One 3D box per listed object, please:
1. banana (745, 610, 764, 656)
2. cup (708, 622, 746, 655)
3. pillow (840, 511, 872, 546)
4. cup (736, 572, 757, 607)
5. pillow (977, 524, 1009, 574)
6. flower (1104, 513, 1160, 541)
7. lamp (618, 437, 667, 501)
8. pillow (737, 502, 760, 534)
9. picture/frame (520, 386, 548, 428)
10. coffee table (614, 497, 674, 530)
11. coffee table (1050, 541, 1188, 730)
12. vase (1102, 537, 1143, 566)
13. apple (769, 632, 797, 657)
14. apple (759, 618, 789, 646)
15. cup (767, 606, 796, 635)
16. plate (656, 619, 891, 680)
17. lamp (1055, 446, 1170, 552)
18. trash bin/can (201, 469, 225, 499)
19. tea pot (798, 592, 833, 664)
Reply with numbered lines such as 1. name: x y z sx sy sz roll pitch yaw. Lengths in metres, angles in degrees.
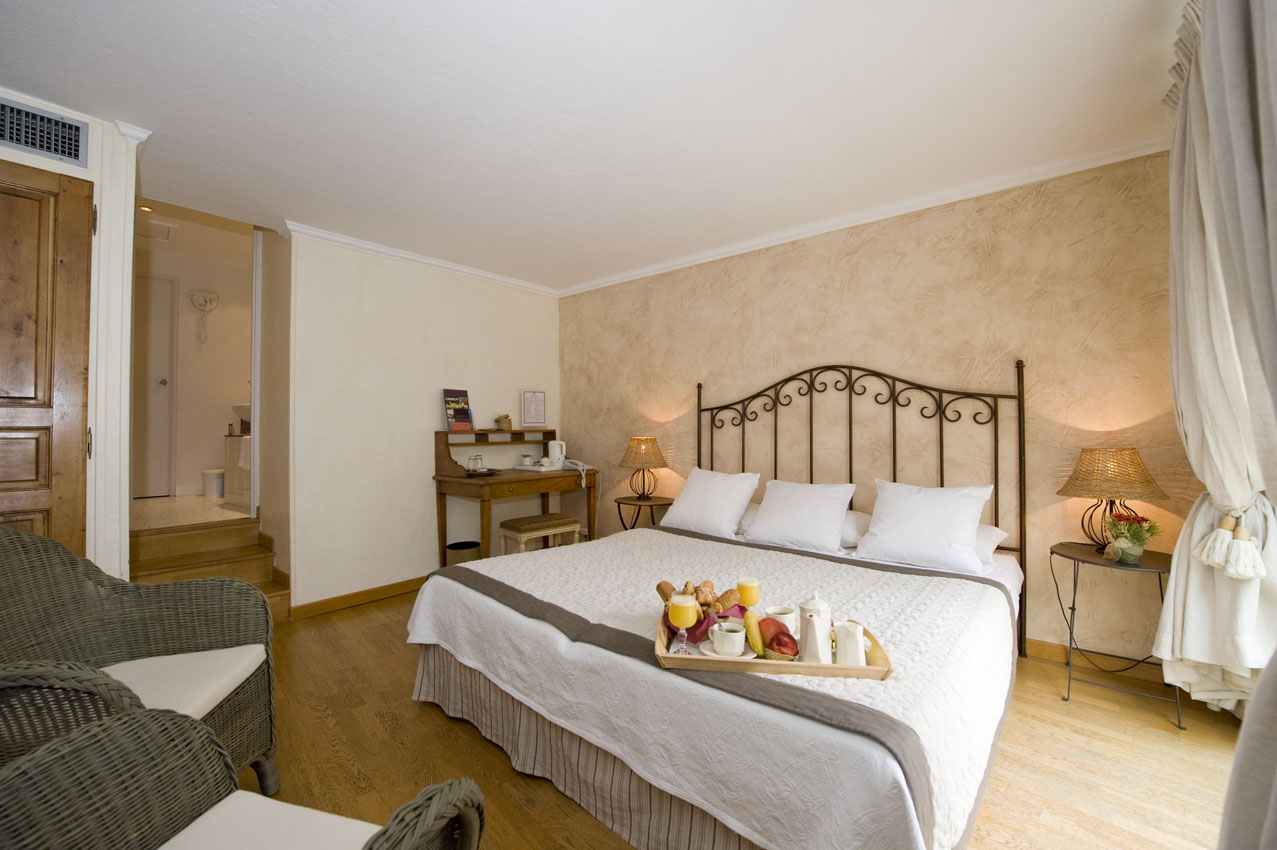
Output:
1. banana: 0.542 0.939 3.944 0.052 0.172 0.098 -20 -17 33
2. cup: 0.408 0.977 3.966 0.143 0.111 0.118 -5 -8 41
3. pillow: 1.366 0.637 5.410 0.195 0.185 0.056 11 -23 -30
4. cup: 0.559 0.802 4.190 0.111 0.114 0.113 8 -10 1
5. pillow: 2.083 0.696 5.098 0.062 0.215 0.230 -8 -20 37
6. flower: 2.721 0.557 4.720 0.167 0.150 0.165 10 -9 -41
7. lamp: 0.033 0.329 6.724 0.392 0.479 0.408 -2 -1 35
8. pillow: 0.736 0.623 5.803 0.066 0.164 0.163 41 -21 -16
9. picture/frame: -0.926 -0.172 7.436 0.049 0.369 0.351 -1 2 40
10. coffee table: 0.014 0.678 6.888 0.318 0.204 0.330 0 1 -11
11. coffee table: 2.773 1.177 5.001 0.704 0.973 0.856 -4 -4 37
12. vase: 2.653 0.693 4.716 0.154 0.140 0.144 9 -11 -13
13. apple: 0.653 0.994 3.934 0.113 0.084 0.089 17 -16 -15
14. apple: 0.603 0.929 3.937 0.109 0.130 0.114 -5 -36 -4
15. cup: 0.687 0.911 4.051 0.105 0.102 0.132 1 -6 -25
16. plate: 0.606 1.037 3.920 1.063 0.125 0.228 -2 -2 4
17. lamp: 2.598 0.437 4.870 0.582 0.622 0.575 5 -8 -37
18. trash bin/can: -3.891 0.498 7.850 0.156 0.240 0.168 -1 -2 -27
19. tea pot: 0.807 0.918 3.945 0.164 0.328 0.295 1 6 16
